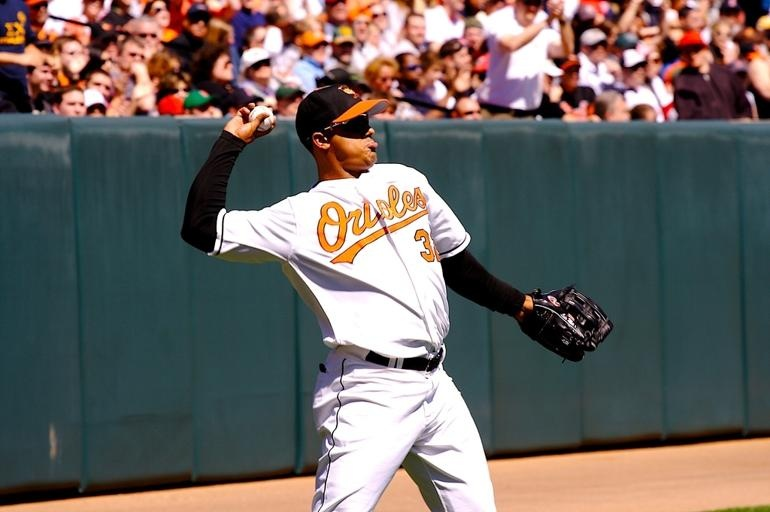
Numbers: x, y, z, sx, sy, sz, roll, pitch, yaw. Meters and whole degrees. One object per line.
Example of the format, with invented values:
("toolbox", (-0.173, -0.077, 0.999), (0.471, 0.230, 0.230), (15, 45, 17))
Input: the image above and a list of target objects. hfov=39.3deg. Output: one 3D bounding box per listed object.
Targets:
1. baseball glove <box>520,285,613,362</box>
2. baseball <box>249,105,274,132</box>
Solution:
("baseball glove", (1.070, 0.378, 6.697), (0.533, 0.411, 0.216), (18, 66, 47))
("baseball", (-0.689, -0.794, 6.178), (0.140, 0.142, 0.075), (-46, 36, -17))
